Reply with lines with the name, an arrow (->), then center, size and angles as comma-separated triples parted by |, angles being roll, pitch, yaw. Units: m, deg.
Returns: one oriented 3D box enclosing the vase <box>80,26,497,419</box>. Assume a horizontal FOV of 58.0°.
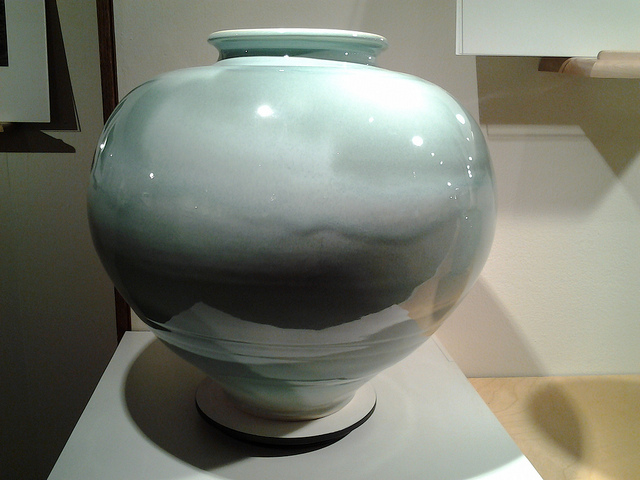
vase -> -0.059, -0.012, 0.832 | 0.425, 0.435, 0.437 | 1, 1, -1
